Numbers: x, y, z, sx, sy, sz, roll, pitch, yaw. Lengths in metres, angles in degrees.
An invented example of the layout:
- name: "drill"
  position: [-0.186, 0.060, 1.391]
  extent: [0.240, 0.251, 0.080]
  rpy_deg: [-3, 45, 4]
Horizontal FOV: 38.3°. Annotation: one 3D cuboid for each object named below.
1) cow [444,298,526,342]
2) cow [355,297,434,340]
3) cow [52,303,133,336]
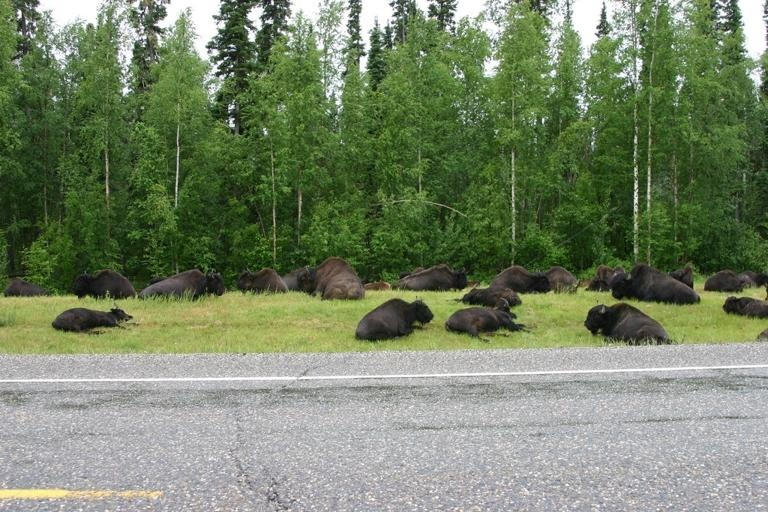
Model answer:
- name: "cow"
  position: [5.612, 3.681, 62.067]
  extent: [5.004, 2.275, 1.531]
  rpy_deg: [-8, -10, -31]
- name: "cow"
  position: [0.486, 3.495, 61.162]
  extent: [4.101, 2.241, 1.287]
  rpy_deg: [0, 1, -31]
- name: "cow"
  position: [-16.333, 3.569, 62.525]
  extent: [4.252, 1.844, 1.522]
  rpy_deg: [-3, 5, -23]
